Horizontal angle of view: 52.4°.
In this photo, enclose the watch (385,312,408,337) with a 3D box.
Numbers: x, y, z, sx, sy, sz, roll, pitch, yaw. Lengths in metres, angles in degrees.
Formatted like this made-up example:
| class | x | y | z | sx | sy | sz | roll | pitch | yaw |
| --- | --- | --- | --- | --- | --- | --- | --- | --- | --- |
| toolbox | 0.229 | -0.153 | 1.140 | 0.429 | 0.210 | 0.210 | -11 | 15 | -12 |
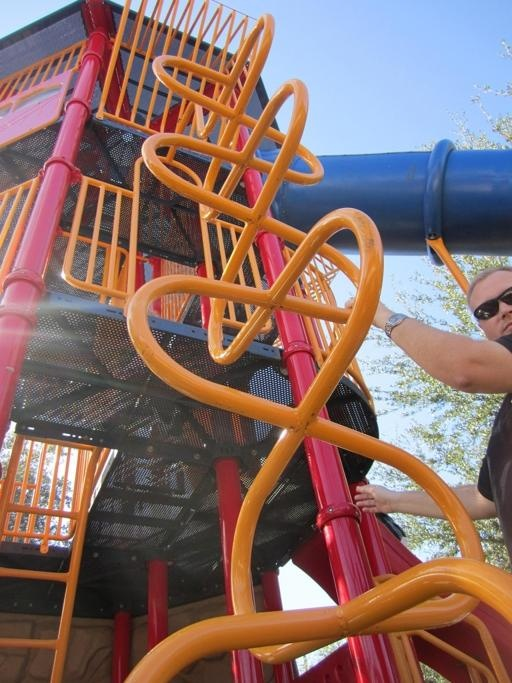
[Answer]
| class | x | y | z | sx | sy | sz | roll | pitch | yaw |
| --- | --- | --- | --- | --- | --- | --- | --- | --- | --- |
| watch | 0.321 | -0.037 | 1.191 | 0.056 | 0.051 | 0.037 | -22 | 44 | 0 |
